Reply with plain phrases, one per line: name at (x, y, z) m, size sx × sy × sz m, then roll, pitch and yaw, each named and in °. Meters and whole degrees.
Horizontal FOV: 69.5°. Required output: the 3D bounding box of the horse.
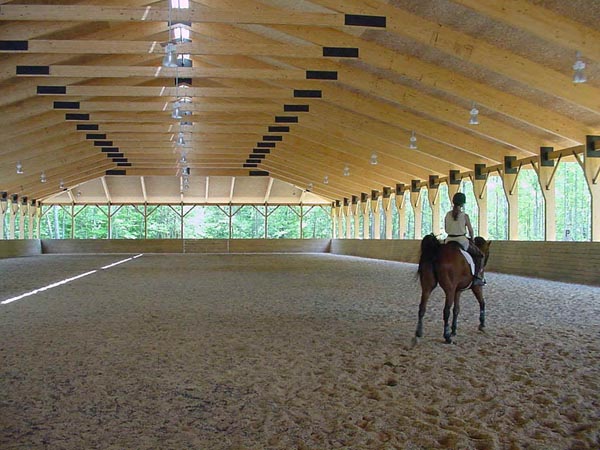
horse at (1.978, 0.836, 6.014) m, size 0.776 × 1.407 × 1.180 m, roll -1°, pitch -2°, yaw 26°
